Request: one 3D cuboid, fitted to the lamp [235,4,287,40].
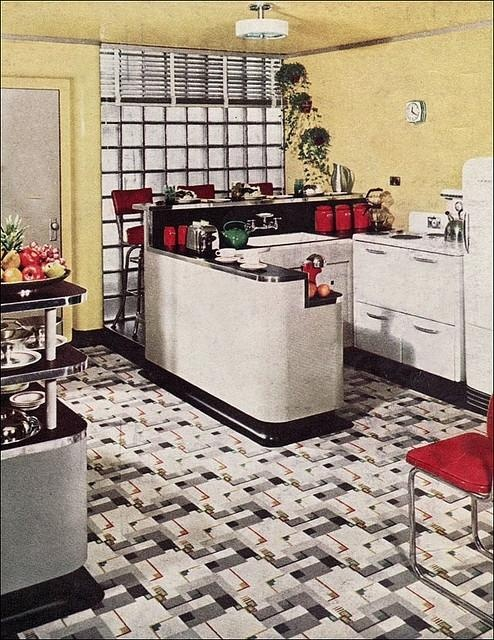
[{"bbox_3d":[0.075,-1.724,3.369,0.258,0.128,0.238,-1,8,-7],"label":"lamp"}]

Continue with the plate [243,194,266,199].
[{"bbox_3d":[0.044,-1.085,4.981,0.097,0.025,0.092,-6,10,-33],"label":"plate"}]

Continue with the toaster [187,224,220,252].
[{"bbox_3d":[-0.331,-0.612,4.122,0.220,0.236,0.294,-11,18,-33],"label":"toaster"}]

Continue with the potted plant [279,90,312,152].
[{"bbox_3d":[0.458,-1.967,5.381,0.120,0.230,0.300,-12,-31,-31],"label":"potted plant"}]

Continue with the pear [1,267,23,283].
[{"bbox_3d":[-0.694,-0.130,1.663,0.058,0.044,0.065,-3,7,-21],"label":"pear"}]

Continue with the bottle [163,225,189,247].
[{"bbox_3d":[-0.555,-0.640,4.349,0.212,0.166,0.096,-4,6,-39],"label":"bottle"}]

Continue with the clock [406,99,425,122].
[{"bbox_3d":[1.147,-1.428,3.860,0.089,0.150,0.149,-12,20,-29],"label":"clock"}]

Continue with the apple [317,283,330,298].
[{"bbox_3d":[0.482,-0.179,3.481,0.086,0.071,0.080,-3,4,-21],"label":"apple"}]

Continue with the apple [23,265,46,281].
[{"bbox_3d":[-0.645,-0.145,1.734,0.064,0.055,0.058,-2,15,5],"label":"apple"}]

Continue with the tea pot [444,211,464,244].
[{"bbox_3d":[1.444,-0.653,3.966,0.115,0.224,0.300,2,7,18],"label":"tea pot"}]

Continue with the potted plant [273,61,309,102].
[{"bbox_3d":[0.372,-2.176,5.111,0.184,0.255,0.372,-4,8,-30],"label":"potted plant"}]

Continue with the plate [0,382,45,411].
[{"bbox_3d":[-0.795,0.271,2.023,0.132,0.030,0.122,3,15,3],"label":"plate"}]

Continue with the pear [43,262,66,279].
[{"bbox_3d":[-0.608,-0.163,1.819,0.051,0.050,0.066,-19,1,20],"label":"pear"}]

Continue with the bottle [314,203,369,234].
[{"bbox_3d":[0.847,-0.910,5.093,0.408,0.167,0.120,2,10,11],"label":"bottle"}]
